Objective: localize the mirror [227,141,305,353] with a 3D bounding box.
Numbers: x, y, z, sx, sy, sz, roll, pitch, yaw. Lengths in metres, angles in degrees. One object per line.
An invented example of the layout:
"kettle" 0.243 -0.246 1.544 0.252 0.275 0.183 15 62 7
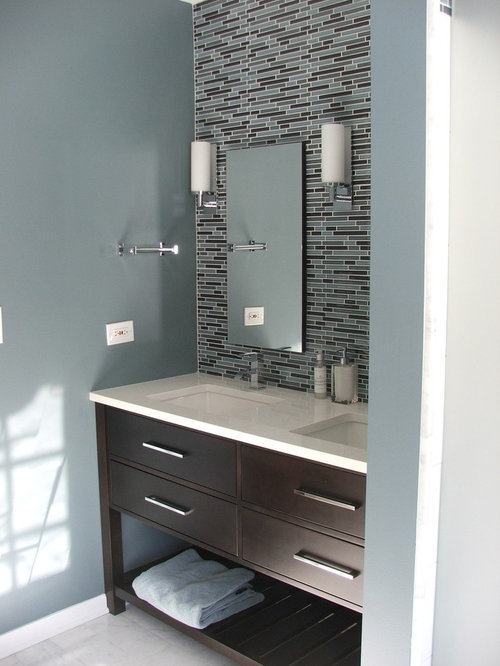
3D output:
"mirror" 0.041 -0.348 2.387 0.399 0.854 0.019 2 3 30

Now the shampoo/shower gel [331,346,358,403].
"shampoo/shower gel" 0.343 0.159 2.061 0.097 0.202 0.077 6 0 12

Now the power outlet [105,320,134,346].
"power outlet" -0.557 0.001 2.426 0.026 0.110 0.144 6 -1 35

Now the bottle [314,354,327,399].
"bottle" 0.274 0.161 2.190 0.060 0.176 0.044 5 0 -44

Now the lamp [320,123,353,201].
"lamp" 0.297 -0.585 2.005 0.124 0.295 0.129 -5 8 -28

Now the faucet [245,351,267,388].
"faucet" 0.029 0.158 2.376 0.069 0.152 0.131 6 0 30

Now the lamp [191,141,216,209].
"lamp" -0.214 -0.711 2.577 0.112 0.306 0.091 1 0 -17
